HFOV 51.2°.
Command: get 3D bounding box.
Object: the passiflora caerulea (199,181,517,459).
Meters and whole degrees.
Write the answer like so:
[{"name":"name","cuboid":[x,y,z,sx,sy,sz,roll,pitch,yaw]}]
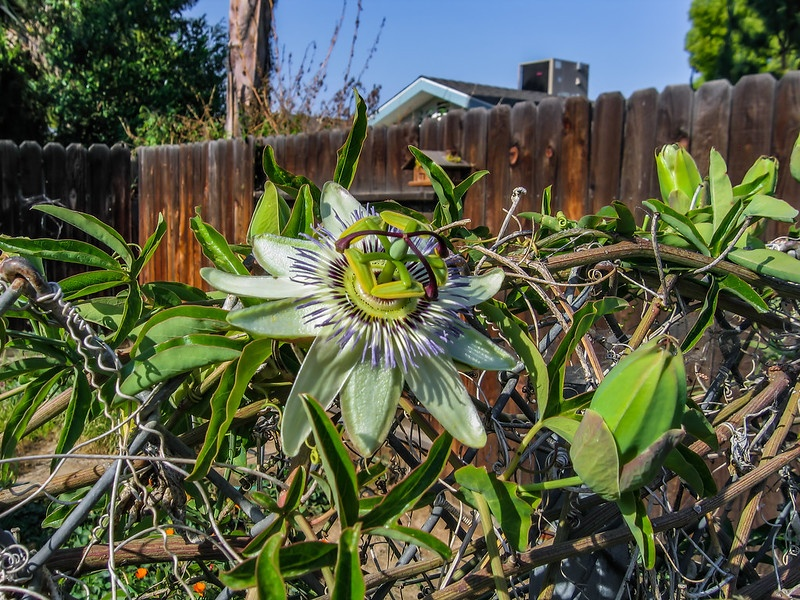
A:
[{"name":"passiflora caerulea","cuboid":[-0.056,0.017,1.024,0.370,0.324,0.232,0,5,-17]}]
